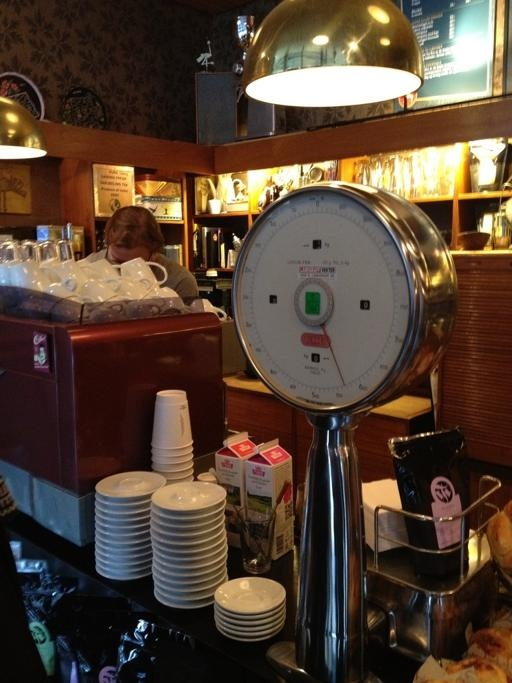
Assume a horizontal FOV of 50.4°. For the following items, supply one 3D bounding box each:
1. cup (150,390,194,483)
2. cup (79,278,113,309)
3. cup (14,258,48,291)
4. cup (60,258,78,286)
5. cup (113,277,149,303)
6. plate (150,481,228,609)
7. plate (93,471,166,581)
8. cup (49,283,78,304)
[{"bbox_3d":[-0.165,0.189,1.062,0.082,0.190,0.109,-3,8,-8],"label":"cup"},{"bbox_3d":[-0.315,-0.104,1.102,0.057,0.041,0.090,2,9,20],"label":"cup"},{"bbox_3d":[-0.474,-0.137,1.143,0.051,0.057,0.052,-25,-16,-8],"label":"cup"},{"bbox_3d":[-0.393,-0.141,1.141,0.034,0.053,0.084,-4,9,-19],"label":"cup"},{"bbox_3d":[-0.264,-0.114,1.161,0.061,0.043,0.108,-3,9,-12],"label":"cup"},{"bbox_3d":[-0.095,0.302,0.855,0.133,0.159,0.136,1,5,26],"label":"plate"},{"bbox_3d":[-0.210,0.300,0.934,0.129,0.146,0.131,1,7,-26],"label":"plate"},{"bbox_3d":[-0.379,-0.097,1.078,0.048,0.033,0.083,-9,11,-40],"label":"cup"}]
